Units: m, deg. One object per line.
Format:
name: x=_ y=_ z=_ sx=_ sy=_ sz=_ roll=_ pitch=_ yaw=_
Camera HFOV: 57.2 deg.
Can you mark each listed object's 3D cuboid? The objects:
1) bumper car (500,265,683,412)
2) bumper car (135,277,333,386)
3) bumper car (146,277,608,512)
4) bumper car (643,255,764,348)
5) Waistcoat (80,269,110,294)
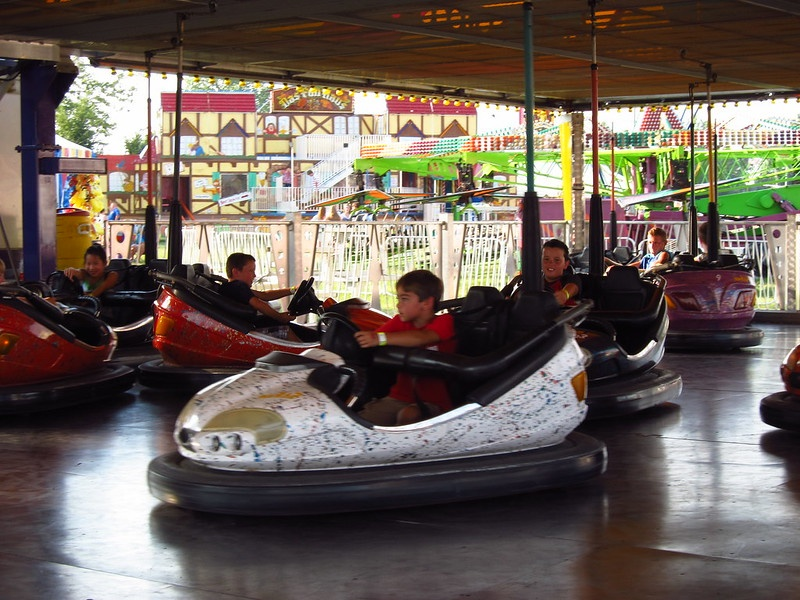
bumper car: x=0.966 y=0.135 z=4.066 sx=1.073 sy=0.423 sz=1.407 roll=15 pitch=21 yaw=31
bumper car: x=-0.934 y=0.188 z=4.507 sx=1.357 sy=0.460 sz=0.715 roll=10 pitch=6 yaw=-6
bumper car: x=-0.041 y=0.294 z=2.563 sx=1.563 sy=0.390 sz=0.801 roll=-4 pitch=18 yaw=-16
bumper car: x=2.497 y=0.061 z=5.819 sx=0.900 sy=0.401 sz=1.184 roll=-1 pitch=2 yaw=6
Waistcoat: x=-2.416 y=-0.132 z=5.717 sx=0.287 sy=0.166 sz=0.172 roll=-6 pitch=0 yaw=-33
